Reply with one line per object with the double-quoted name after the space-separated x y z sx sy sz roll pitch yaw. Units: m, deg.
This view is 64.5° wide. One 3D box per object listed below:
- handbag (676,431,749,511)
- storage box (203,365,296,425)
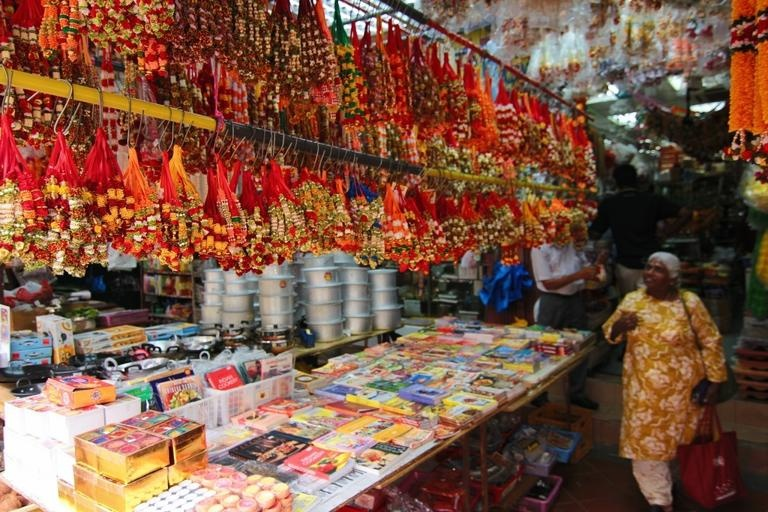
2.390 1.535 4.428 0.453 0.461 0.123 -5 1 -19 "handbag"
-0.878 0.890 3.986 0.655 0.182 0.380 3 -34 -14 "storage box"
